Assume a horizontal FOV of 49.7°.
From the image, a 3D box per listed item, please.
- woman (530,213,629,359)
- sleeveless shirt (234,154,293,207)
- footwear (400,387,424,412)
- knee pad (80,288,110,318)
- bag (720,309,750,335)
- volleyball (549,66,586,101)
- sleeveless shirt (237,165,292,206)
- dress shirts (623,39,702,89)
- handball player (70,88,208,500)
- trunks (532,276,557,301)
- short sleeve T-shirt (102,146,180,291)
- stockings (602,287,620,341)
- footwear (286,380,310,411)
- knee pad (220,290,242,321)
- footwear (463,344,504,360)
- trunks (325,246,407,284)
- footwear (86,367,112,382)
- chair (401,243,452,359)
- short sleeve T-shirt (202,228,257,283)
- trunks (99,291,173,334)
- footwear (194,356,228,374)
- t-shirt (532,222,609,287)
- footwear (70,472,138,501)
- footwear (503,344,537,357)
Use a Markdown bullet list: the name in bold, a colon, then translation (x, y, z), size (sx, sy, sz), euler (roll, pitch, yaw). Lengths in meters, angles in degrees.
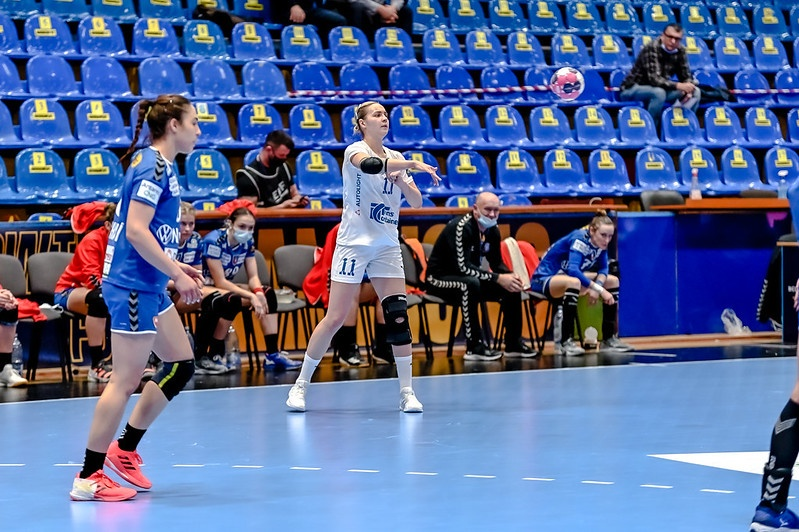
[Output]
- **woman**: translation (2.218, 0.187, 10.239), size (1.258, 1.638, 1.221), euler (3, 4, -6)
- **sleeveless shirt**: translation (-1.624, -0.997, 10.214), size (0.424, 0.759, 0.794), euler (-3, 7, 43)
- **footwear**: translation (0.083, 1.074, 6.935), size (0.206, 0.184, 0.141), euler (0, 4, 13)
- **knee pad**: translation (-2.782, 0.335, 7.803), size (0.186, 0.244, 0.118), euler (1, 21, -9)
- **bag**: translation (4.435, 0.731, 11.310), size (0.411, 0.363, 0.104), euler (-2, 5, -23)
- **volleyball**: translation (2.339, -2.572, 12.018), size (0.377, 0.433, 0.287), euler (-3, 5, -33)
- **sleeveless shirt**: translation (-1.631, -0.949, 10.148), size (0.299, 0.535, 0.566), euler (-3, 5, 45)
- **dress shirts**: translation (4.157, -3.141, 13.607), size (0.717, 0.656, 0.905), euler (-1, 5, -44)
- **handball player**: translation (-1.537, 0.149, 4.953), size (0.777, 2.302, 0.492), euler (-2, 5, -14)
- **trunks**: translation (1.683, 0.264, 10.198), size (0.244, 0.251, 0.251), euler (-1, -7, -20)
- **short sleeve T-shirt**: translation (-1.511, -0.281, 5.064), size (0.411, 0.814, 0.717), euler (6, 3, -14)
- **stockings**: translation (2.548, 0.600, 10.420), size (0.260, 0.709, 0.170), euler (-11, 13, -41)
- **footwear**: translation (-0.852, 1.058, 7.065), size (0.178, 0.234, 0.286), euler (-1, 4, -8)
- **knee pad**: translation (-1.744, 0.413, 8.850), size (0.236, 0.305, 0.193), euler (-2, 5, -13)
- **footwear**: translation (0.931, 0.967, 9.726), size (0.402, 0.173, 0.186), euler (-1, -3, -1)
- **trunks**: translation (-0.291, -0.013, 7.164), size (0.441, 0.271, 0.167), euler (0, 0, -14)
- **footwear**: translation (-2.960, 1.067, 8.497), size (0.327, 0.159, 0.189), euler (-4, -6, 36)
- **chair**: translation (0.376, 0.362, 10.322), size (0.675, 1.089, 0.607), euler (-1, 0, -12)
- **short sleeve T-shirt**: translation (-1.850, -0.115, 9.136), size (0.624, 0.594, 0.341), euler (1, 32, -44)
- **trunks**: translation (-1.503, 0.314, 4.938), size (0.220, 0.225, 0.408), euler (-2, -3, 10)
- **footwear**: translation (-1.973, 1.043, 8.905), size (0.347, 0.156, 0.142), euler (0, -4, -1)
- **t-shirt**: translation (1.999, -0.085, 10.106), size (0.805, 0.824, 0.684), euler (9, -1, 35)
- **footwear**: translation (-1.678, 1.251, 4.881), size (0.360, 0.159, 0.154), euler (2, -4, -5)
- **footwear**: translation (1.395, 0.979, 10.003), size (0.420, 0.186, 0.153), euler (-1, -1, 3)
